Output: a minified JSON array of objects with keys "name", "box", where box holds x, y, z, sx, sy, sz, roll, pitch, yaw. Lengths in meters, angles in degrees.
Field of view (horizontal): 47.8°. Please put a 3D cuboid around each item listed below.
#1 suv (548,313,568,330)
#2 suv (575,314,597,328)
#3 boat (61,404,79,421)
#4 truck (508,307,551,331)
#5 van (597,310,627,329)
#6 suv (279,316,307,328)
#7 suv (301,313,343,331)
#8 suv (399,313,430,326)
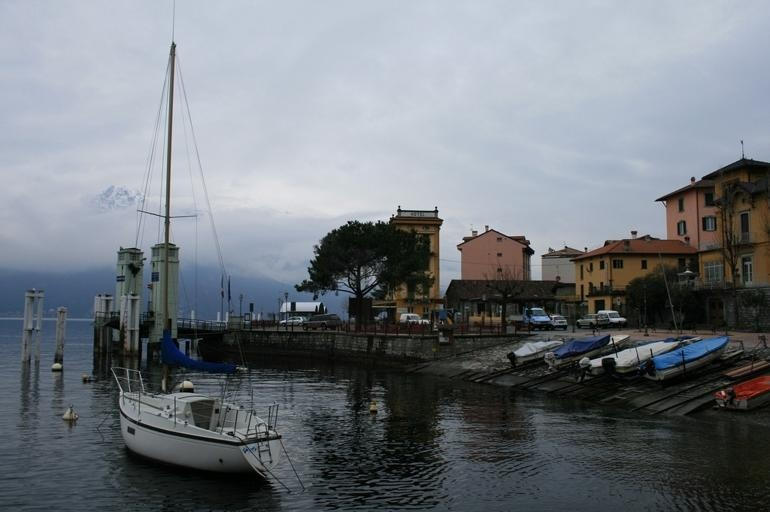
[{"name":"suv","box":[18.665,7.247,93.580,1.297,1.017,2.218,0,3,3]},{"name":"suv","box":[21.922,7.199,93.540,1.373,1.243,2.597,1,0,-36]},{"name":"boat","box":[-21.237,10.706,58.466,1.126,1.129,1.106,2,5,-3]},{"name":"truck","box":[15.889,7.101,95.038,2.290,2.390,5.726,1,-8,-16]},{"name":"van","box":[24.202,6.748,92.312,1.732,1.604,2.868,2,-7,-35]},{"name":"suv","box":[-11.830,8.649,111.559,3.576,1.268,1.634,2,-3,12]},{"name":"suv","box":[-7.581,8.301,106.626,3.748,1.574,2.208,1,-3,20]},{"name":"suv","box":[3.556,7.806,103.961,2.535,1.221,1.537,-3,0,1]}]
